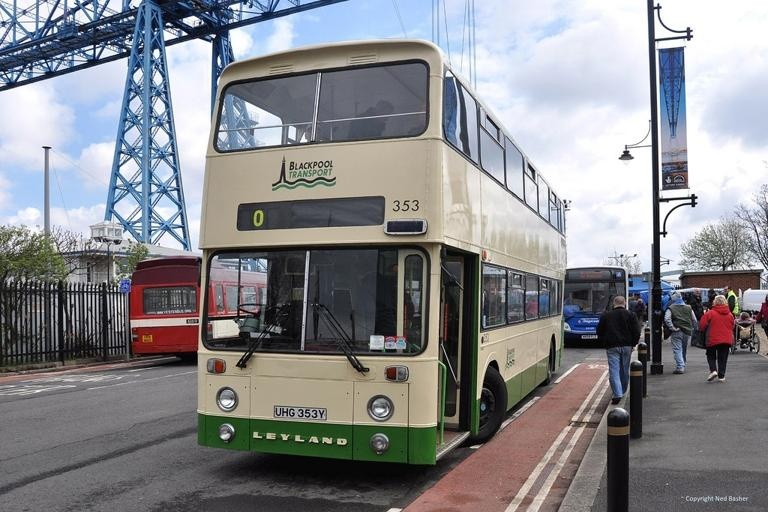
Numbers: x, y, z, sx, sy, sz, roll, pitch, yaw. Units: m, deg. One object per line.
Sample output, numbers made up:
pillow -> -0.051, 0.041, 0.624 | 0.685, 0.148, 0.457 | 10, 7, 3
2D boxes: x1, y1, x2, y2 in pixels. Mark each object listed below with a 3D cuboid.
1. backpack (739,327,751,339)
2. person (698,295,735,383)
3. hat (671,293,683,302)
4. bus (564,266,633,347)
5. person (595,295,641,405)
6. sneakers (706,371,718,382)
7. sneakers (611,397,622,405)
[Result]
backpack -> 13.434, 2.844, 24.211 | 0.340, 0.404, 0.343 | -1, 1, 27
person -> 8.804, 2.142, 17.150 | 0.793, 2.273, 0.739 | 7, -11, 2
hat -> 8.660, 1.211, 19.256 | 0.226, 0.312, 0.287 | 14, 8, 20
bus -> 7.928, 1.741, 24.499 | 2.400, 3.484, 7.110 | -2, -7, 23
person -> 5.165, 2.031, 14.346 | 0.903, 2.298, 1.268 | -1, 2, 21
sneakers -> 8.562, 3.114, 16.934 | 0.246, 0.224, 0.370 | 0, 2, 41
sneakers -> 5.011, 3.083, 14.035 | 0.202, 0.212, 0.387 | -1, 1, 18
